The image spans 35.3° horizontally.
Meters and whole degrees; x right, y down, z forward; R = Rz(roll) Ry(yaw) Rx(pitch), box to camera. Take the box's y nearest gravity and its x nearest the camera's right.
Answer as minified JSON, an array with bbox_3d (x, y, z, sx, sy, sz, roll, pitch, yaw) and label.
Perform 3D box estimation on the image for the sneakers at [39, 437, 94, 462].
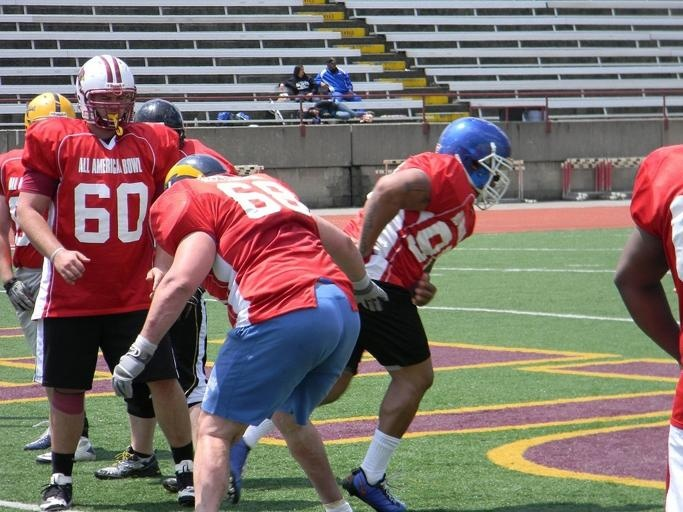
[{"bbox_3d":[-1.731,1.275,7.033,0.469,0.195,0.145,2,-8,-7],"label":"sneakers"}]

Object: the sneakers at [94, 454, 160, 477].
[{"bbox_3d":[-1.333,1.334,6.775,0.435,0.169,0.148,4,-6,-12],"label":"sneakers"}]

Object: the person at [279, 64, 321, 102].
[{"bbox_3d":[-0.948,-3.878,24.245,0.923,0.783,0.881,0,6,-7],"label":"person"}]

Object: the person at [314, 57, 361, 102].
[{"bbox_3d":[-0.137,-3.977,24.595,0.937,1.100,0.720,-11,14,-19],"label":"person"}]

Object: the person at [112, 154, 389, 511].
[{"bbox_3d":[-0.496,0.496,5.624,1.176,1.789,0.525,0,6,-11],"label":"person"}]

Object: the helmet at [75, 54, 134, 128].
[{"bbox_3d":[-1.489,-1.054,6.716,0.361,0.368,0.471,-7,21,-29],"label":"helmet"}]

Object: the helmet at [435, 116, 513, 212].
[{"bbox_3d":[0.829,-0.624,6.888,0.576,0.486,0.436,12,9,-18],"label":"helmet"}]

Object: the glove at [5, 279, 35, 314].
[{"bbox_3d":[-2.123,0.253,7.115,0.120,0.232,0.176,-35,-21,-12],"label":"glove"}]

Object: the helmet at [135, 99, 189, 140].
[{"bbox_3d":[-1.279,-0.971,7.656,0.398,0.299,0.292,0,17,-1],"label":"helmet"}]

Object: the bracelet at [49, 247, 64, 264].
[{"bbox_3d":[-1.650,-0.006,6.204,0.081,0.079,0.063,0,6,-10],"label":"bracelet"}]
